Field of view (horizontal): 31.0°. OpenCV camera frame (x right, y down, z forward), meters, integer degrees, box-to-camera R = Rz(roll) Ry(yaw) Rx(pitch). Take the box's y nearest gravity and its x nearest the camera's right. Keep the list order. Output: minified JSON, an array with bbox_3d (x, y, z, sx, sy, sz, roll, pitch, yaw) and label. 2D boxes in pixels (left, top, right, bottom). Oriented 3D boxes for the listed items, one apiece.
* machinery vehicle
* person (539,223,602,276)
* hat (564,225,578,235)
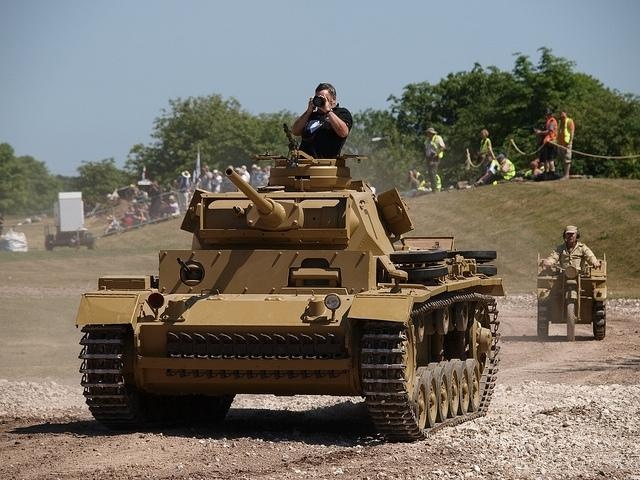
[{"bbox_3d":[-0.209,0.987,21.947,6.108,5.426,8.673,-1,-3,16],"label":"machinery vehicle"},{"bbox_3d":[6.130,0.193,28.060,1.256,1.104,0.937,-2,-1,7],"label":"person"},{"bbox_3d":[6.129,-0.256,28.307,0.359,0.201,0.579,0,-1,11],"label":"hat"}]
